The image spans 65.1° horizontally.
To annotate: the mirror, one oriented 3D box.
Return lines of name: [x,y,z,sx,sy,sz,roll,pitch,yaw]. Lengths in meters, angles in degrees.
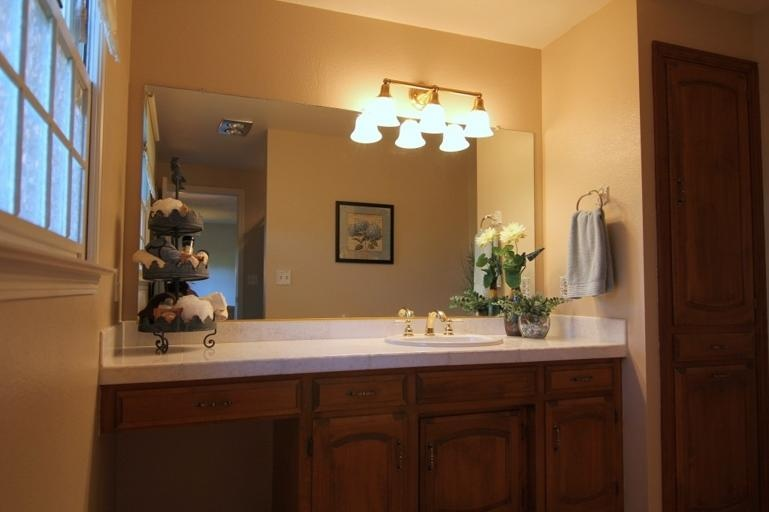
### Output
mirror: [-0.197,-0.209,3.529,2.153,1.252,0.027,0,-1,19]

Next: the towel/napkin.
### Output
towel/napkin: [1.160,-0.022,3.453,0.096,0.498,0.256,5,-9,-41]

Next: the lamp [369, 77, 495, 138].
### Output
lamp: [0.272,-0.872,3.699,0.939,0.340,0.302,4,-1,-14]

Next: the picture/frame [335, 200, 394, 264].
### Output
picture/frame: [-0.133,-0.136,3.531,0.374,0.371,0.028,0,-1,-23]

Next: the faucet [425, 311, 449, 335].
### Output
faucet: [0.318,0.389,3.545,0.150,0.140,0.257,-1,-7,6]

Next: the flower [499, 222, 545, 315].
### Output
flower: [0.861,0.068,3.752,0.298,0.535,0.205,-2,-13,23]

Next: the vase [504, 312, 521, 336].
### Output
vase: [0.767,0.412,3.633,0.125,0.143,0.120,1,-1,-12]

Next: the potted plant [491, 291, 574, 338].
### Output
potted plant: [0.835,0.347,3.565,0.355,0.206,0.293,-1,-3,28]
